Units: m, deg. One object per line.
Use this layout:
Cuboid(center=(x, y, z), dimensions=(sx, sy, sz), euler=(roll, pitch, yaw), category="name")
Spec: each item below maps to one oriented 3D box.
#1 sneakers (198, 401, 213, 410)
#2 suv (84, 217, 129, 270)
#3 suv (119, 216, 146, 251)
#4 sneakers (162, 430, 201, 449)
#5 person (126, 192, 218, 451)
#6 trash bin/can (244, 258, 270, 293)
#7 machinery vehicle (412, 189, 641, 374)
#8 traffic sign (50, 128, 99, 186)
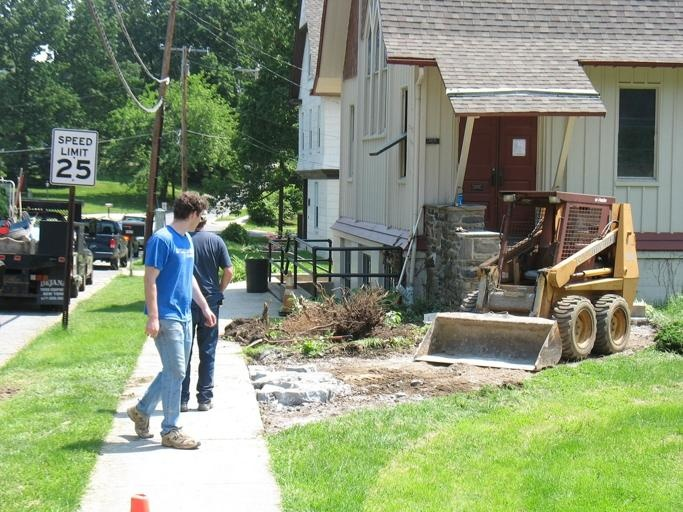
Cuboid(center=(-1.645, 1.831, 10.088), dimensions=(0.067, 0.140, 0.203), euler=(5, 8, 26), category="sneakers")
Cuboid(center=(-8.835, -0.437, 31.149), dimensions=(1.327, 1.395, 2.949), euler=(2, 6, 5), category="suv")
Cuboid(center=(-9.337, -1.158, 36.864), dimensions=(1.351, 1.323, 2.598), euler=(0, 7, -3), category="suv")
Cuboid(center=(-1.706, 1.964, 8.821), dimensions=(0.370, 0.168, 0.177), euler=(0, 0, 10), category="sneakers")
Cuboid(center=(-1.822, 0.658, 8.946), dimensions=(0.636, 2.752, 0.814), euler=(1, 2, -17), category="person")
Cuboid(center=(-2.405, 0.529, 23.065), dimensions=(0.773, 0.961, 0.793), euler=(0, 3, -26), category="trash bin/can")
Cuboid(center=(2.860, 0.364, 12.963), dimensions=(3.739, 2.637, 2.077), euler=(2, -2, -43), category="machinery vehicle")
Cuboid(center=(-4.823, -1.792, 14.929), dimensions=(0.773, 1.050, 0.545), euler=(1, 2, -21), category="traffic sign")
